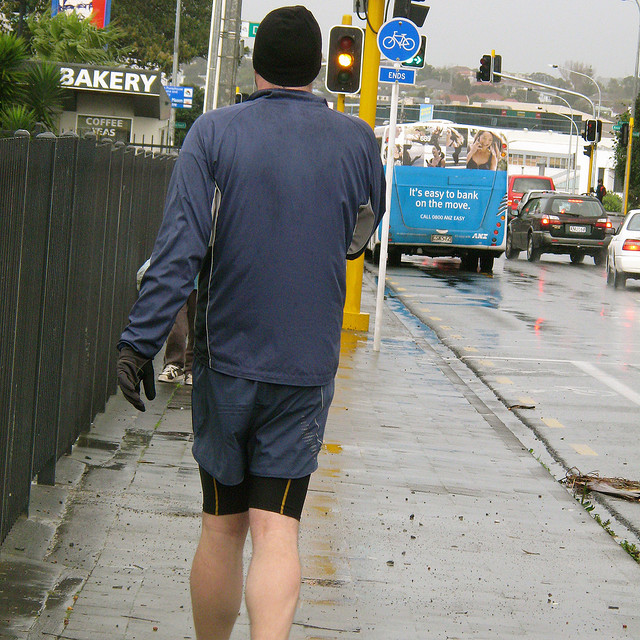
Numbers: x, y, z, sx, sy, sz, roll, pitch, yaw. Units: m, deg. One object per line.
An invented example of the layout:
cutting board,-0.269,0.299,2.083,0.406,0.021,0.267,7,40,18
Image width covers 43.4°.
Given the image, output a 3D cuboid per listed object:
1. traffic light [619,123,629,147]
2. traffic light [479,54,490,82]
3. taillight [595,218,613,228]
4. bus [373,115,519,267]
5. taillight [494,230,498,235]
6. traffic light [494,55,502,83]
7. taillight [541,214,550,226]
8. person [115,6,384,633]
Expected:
traffic light,18.166,-11.112,47.987,0.544,0.866,1.986,8,6,19
traffic light,7.416,-11.343,36.121,0.395,1.157,1.485,8,6,17
taillight,9.194,-3.132,26.131,0.283,0.231,0.483,0,4,5
bus,4.371,-3.950,25.938,3.776,4.065,7.661,4,8,13
taillight,4.842,-2.411,22.144,0.113,0.123,0.027,0,-5,1
traffic light,8.319,-11.624,37.661,0.373,1.148,1.301,7,6,12
taillight,7.324,-3.219,26.067,0.158,0.378,0.297,3,7,-30
person,-0.172,0.018,2.126,0.516,1.706,0.621,7,6,11
